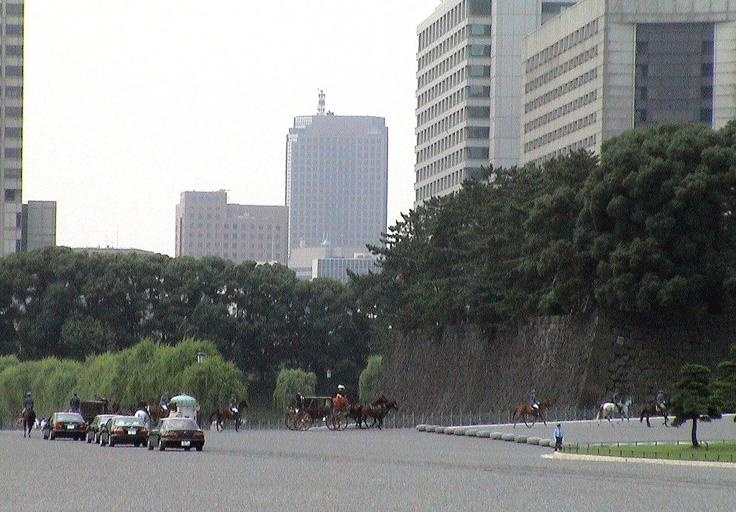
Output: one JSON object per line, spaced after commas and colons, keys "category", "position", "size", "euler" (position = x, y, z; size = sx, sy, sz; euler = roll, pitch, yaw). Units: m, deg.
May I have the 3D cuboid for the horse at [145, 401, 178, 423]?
{"category": "horse", "position": [-16.425, 12.464, 145.776], "size": [0.831, 2.411, 3.874], "euler": [5, -18, -36]}

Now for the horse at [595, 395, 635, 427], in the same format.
{"category": "horse", "position": [19.433, 12.220, 145.048], "size": [2.499, 2.121, 3.936], "euler": [-9, -14, 44]}

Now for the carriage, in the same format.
{"category": "carriage", "position": [-2.531, 13.155, 150.814], "size": [7.896, 2.840, 7.400], "euler": [0, -11, 5]}
